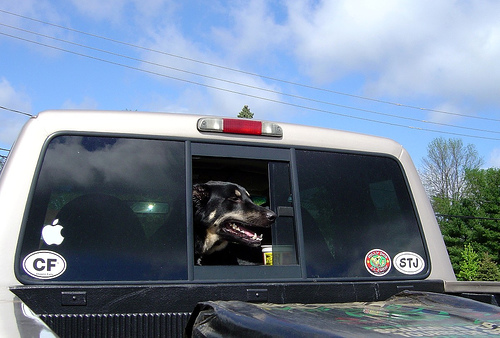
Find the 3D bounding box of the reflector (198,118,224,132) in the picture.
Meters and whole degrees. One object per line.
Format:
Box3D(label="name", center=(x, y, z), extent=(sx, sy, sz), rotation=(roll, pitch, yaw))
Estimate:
Box3D(label="reflector", center=(-0.330, -0.377, 3.238), extent=(0.158, 0.122, 0.058), rotation=(3, -18, -1))
